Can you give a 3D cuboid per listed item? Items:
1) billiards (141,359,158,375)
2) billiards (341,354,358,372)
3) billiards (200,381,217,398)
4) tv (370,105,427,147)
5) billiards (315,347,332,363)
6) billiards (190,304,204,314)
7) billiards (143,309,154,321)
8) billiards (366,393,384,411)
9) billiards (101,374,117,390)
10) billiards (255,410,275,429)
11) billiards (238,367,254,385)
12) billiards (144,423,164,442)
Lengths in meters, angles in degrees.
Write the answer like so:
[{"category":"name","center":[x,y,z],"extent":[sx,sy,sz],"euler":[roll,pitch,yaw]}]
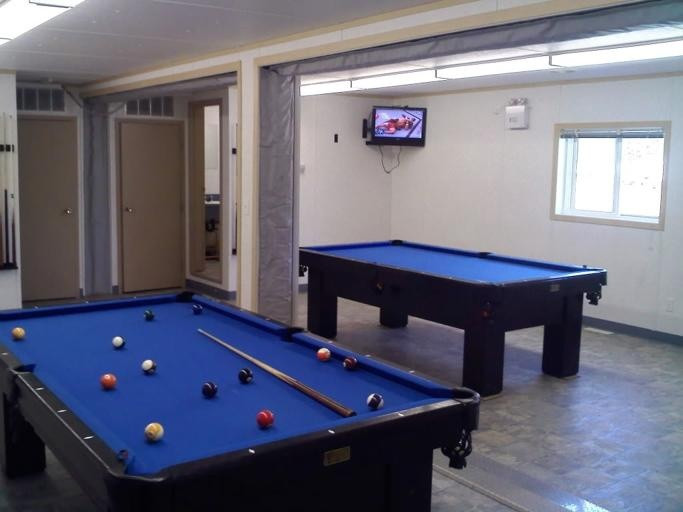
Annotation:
[{"category":"billiards","center":[-0.947,0.543,2.746],"extent":[0.067,0.050,0.066],"euler":[2,11,10]},{"category":"billiards","center":[0.039,0.538,2.804],"extent":[0.056,0.046,0.063],"euler":[19,-2,21]},{"category":"billiards","center":[-0.587,0.591,2.495],"extent":[0.061,0.062,0.061],"euler":[26,3,33]},{"category":"tv","center":[0.857,-1.951,8.468],"extent":[0.947,0.560,0.389],"euler":[-2,12,-20]},{"category":"billiards","center":[-0.092,0.512,2.931],"extent":[0.062,0.064,0.063],"euler":[15,9,5]},{"category":"billiards","center":[-0.980,0.360,3.781],"extent":[0.051,0.061,0.067],"euler":[7,3,-30]},{"category":"billiards","center":[-1.241,0.375,3.614],"extent":[0.058,0.058,0.068],"euler":[38,2,-20]},{"category":"billiards","center":[0.146,0.627,2.411],"extent":[0.060,0.062,0.060],"euler":[1,-2,2]},{"category":"billiards","center":[-1.061,0.566,2.569],"extent":[0.066,0.068,0.066],"euler":[1,22,-12]},{"category":"billiards","center":[-0.303,0.639,2.208],"extent":[0.064,0.066,0.064],"euler":[-4,22,-25]},{"category":"billiards","center":[-0.443,0.557,2.613],"extent":[0.061,0.065,0.066],"euler":[8,7,2]},{"category":"billiards","center":[-0.712,0.664,2.127],"extent":[0.068,0.068,0.065],"euler":[-3,-12,2]}]
